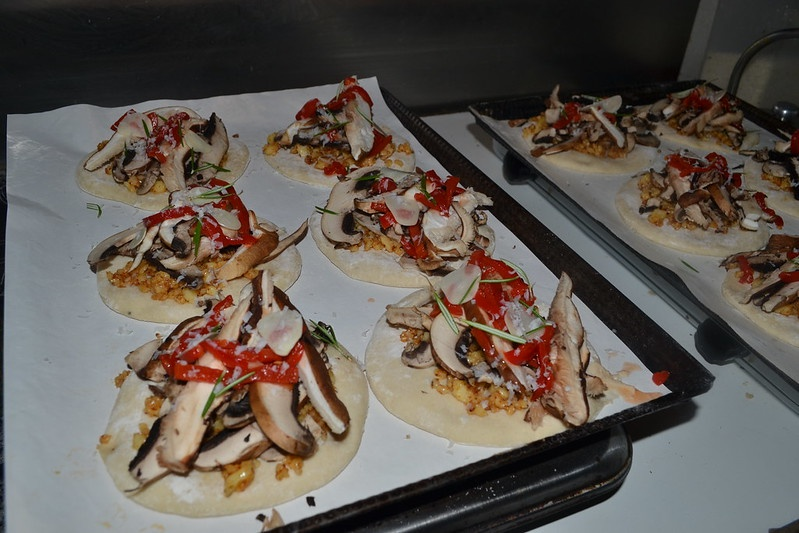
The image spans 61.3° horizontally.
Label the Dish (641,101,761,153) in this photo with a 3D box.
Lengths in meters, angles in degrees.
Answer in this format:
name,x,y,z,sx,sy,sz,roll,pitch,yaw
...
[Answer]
name,x,y,z,sx,sy,sz,roll,pitch,yaw
Dish,3.240,-1.462,7.214,0.747,0.104,0.798,-5,34,-7
